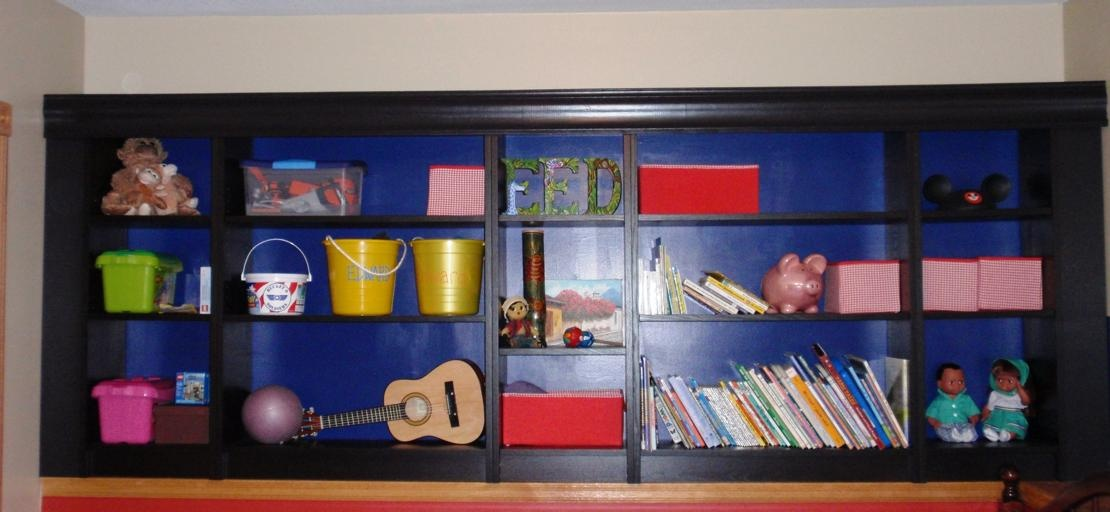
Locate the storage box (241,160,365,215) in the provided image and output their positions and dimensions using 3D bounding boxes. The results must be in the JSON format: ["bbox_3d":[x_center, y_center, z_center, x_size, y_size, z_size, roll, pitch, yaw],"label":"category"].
[{"bbox_3d":[-1.749,-0.470,8.410,0.690,0.252,0.426,0,-1,-4],"label":"storage box"}]

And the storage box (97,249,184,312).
[{"bbox_3d":[-2.872,0.165,8.469,0.716,0.405,0.429,1,-2,-7],"label":"storage box"}]

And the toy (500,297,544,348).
[{"bbox_3d":[-0.235,0.451,8.465,0.336,0.330,0.161,-4,2,-3],"label":"toy"}]

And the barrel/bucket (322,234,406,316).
[{"bbox_3d":[-1.310,0.155,8.504,0.681,0.456,0.563,2,-12,-8],"label":"barrel/bucket"}]

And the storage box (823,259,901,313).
[{"bbox_3d":[2.081,0.194,8.481,0.739,0.417,0.362,-1,5,-3],"label":"storage box"}]

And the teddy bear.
[{"bbox_3d":[-2.856,-0.546,8.467,0.663,0.466,0.321,2,-8,-16],"label":"teddy bear"}]

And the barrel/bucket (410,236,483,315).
[{"bbox_3d":[-0.737,0.144,8.329,0.623,0.436,0.552,-1,-9,5],"label":"barrel/bucket"}]

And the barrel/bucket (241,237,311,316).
[{"bbox_3d":[-1.945,0.132,8.406,0.672,0.568,0.552,-1,-9,0],"label":"barrel/bucket"}]
